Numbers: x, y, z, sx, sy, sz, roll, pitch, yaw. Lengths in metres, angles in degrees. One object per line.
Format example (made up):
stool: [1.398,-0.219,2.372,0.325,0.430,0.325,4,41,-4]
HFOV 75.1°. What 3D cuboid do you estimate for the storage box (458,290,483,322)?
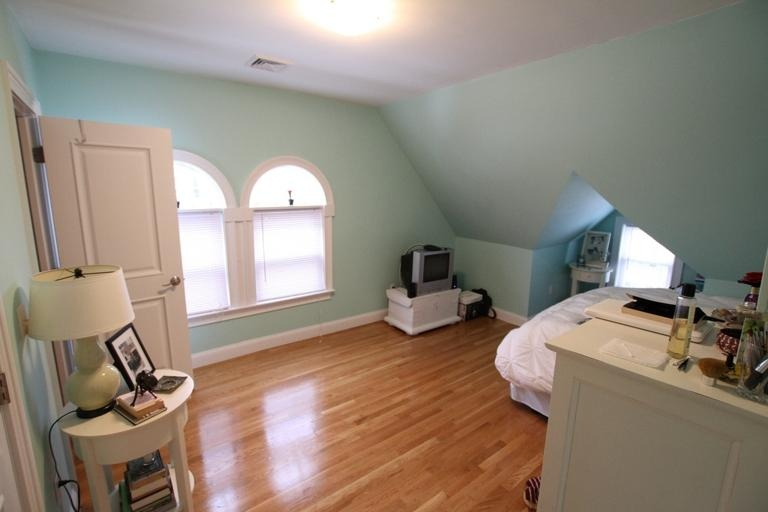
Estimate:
storage box: [1.034,0.627,6.291,0.269,0.240,0.333,-6,13,-33]

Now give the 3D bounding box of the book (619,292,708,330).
book: [1.734,0.331,3.236,0.264,0.114,0.362,11,14,43]

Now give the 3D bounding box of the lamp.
lamp: [-1.852,0.532,3.100,0.542,0.929,0.361,-8,9,-35]

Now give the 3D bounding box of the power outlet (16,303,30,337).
power outlet: [-2.191,0.390,3.054,0.034,0.208,0.089,-6,8,-25]

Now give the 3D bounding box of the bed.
bed: [1.854,0.756,4.716,1.858,0.512,1.084,-12,16,-37]

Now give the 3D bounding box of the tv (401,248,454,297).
tv: [0.513,0.133,5.984,0.574,0.558,0.409,-10,21,-36]

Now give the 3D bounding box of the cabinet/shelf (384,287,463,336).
cabinet/shelf: [0.466,0.616,6.087,0.812,0.404,0.630,-7,12,-31]
